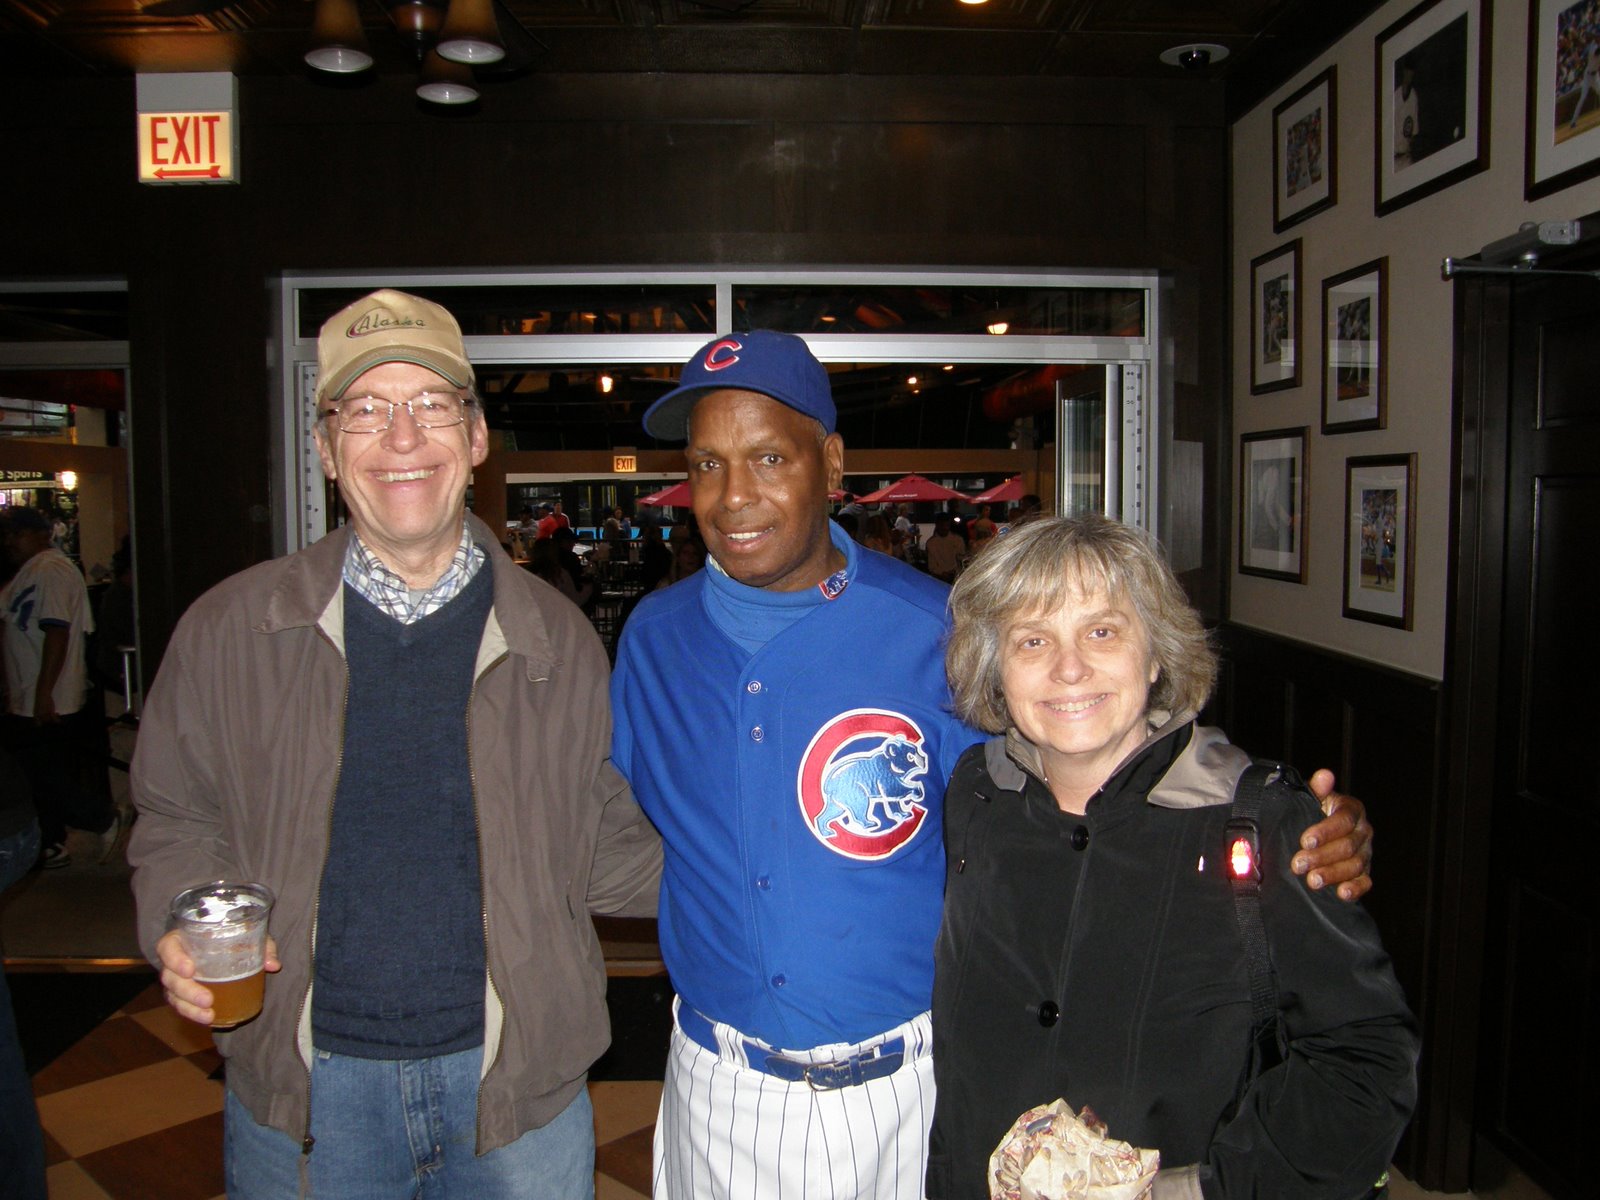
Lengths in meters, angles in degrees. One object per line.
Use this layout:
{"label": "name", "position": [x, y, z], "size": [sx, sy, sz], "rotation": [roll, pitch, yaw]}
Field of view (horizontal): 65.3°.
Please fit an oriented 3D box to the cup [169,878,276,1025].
{"label": "cup", "position": [-1.030, 0.678, 2.307], "size": [0.158, 0.315, 0.150], "rotation": [0, 6, 0]}
